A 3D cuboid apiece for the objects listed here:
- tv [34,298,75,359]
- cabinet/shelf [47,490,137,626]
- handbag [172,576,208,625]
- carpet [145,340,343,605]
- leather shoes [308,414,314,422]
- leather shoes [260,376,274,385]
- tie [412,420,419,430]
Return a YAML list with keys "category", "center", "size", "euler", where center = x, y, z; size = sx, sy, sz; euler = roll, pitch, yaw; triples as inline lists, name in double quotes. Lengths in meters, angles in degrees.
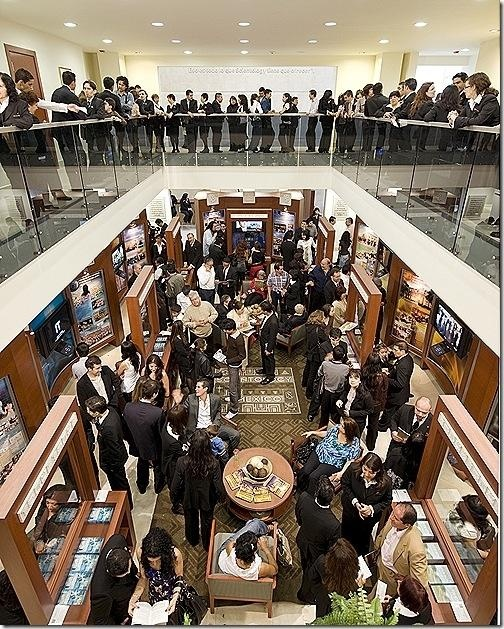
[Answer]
- category: "tv"
  center: [-3.207, 0.213, 5.827]
  size: [0.449, 0.631, 0.877]
  euler: [-3, 24, 3]
- category: "cabinet/shelf"
  center: [-1.217, 1.981, 2.928]
  size: [0.327, 0.501, 1.302]
  euler: [-3, 40, -1]
- category: "handbag"
  center: [-0.474, 2.157, 2.738]
  size: [0.204, 0.391, 0.256]
  euler: [3, 25, 10]
- category: "carpet"
  center: [-0.106, 1.747, 4.183]
  size: [1.813, 0.675, 2.786]
  euler: [0, 47, 6]
- category: "leather shoes"
  center: [0.966, 1.685, 6.072]
  size: [0.111, 0.128, 0.108]
  euler: [-1, 12, -11]
- category: "leather shoes"
  center: [0.285, 1.263, 7.018]
  size: [0.237, 0.105, 0.116]
  euler: [-7, 47, -6]
- category: "tie"
  center: [1.773, 1.182, 3.928]
  size: [0.021, 0.086, 0.059]
  euler: [16, 15, -32]
